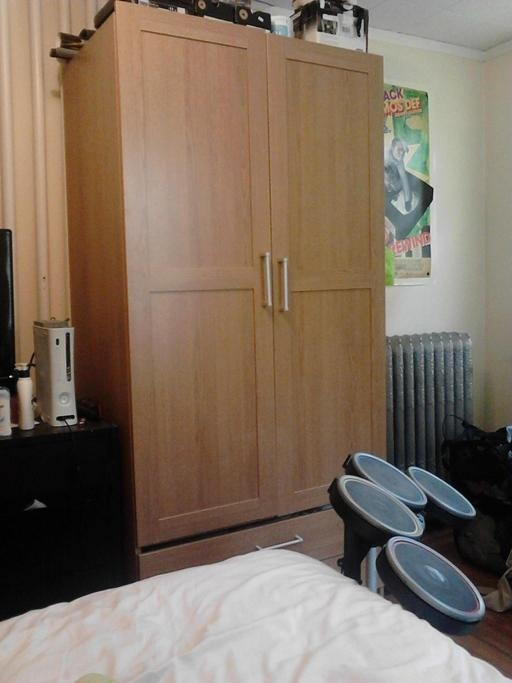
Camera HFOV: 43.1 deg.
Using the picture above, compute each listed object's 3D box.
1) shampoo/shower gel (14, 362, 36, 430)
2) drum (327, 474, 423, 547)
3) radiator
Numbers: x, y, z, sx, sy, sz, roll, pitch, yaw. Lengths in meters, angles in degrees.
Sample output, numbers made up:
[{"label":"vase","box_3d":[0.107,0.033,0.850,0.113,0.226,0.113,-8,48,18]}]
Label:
[{"label":"shampoo/shower gel","box_3d":[-0.711,0.170,1.998,0.039,0.202,0.043,-2,0,32]},{"label":"drum","box_3d":[0.239,0.350,1.345,0.202,0.106,0.169,6,8,18]},{"label":"radiator","box_3d":[0.798,0.304,3.061,0.603,0.921,0.109,0,-1,-35]}]
